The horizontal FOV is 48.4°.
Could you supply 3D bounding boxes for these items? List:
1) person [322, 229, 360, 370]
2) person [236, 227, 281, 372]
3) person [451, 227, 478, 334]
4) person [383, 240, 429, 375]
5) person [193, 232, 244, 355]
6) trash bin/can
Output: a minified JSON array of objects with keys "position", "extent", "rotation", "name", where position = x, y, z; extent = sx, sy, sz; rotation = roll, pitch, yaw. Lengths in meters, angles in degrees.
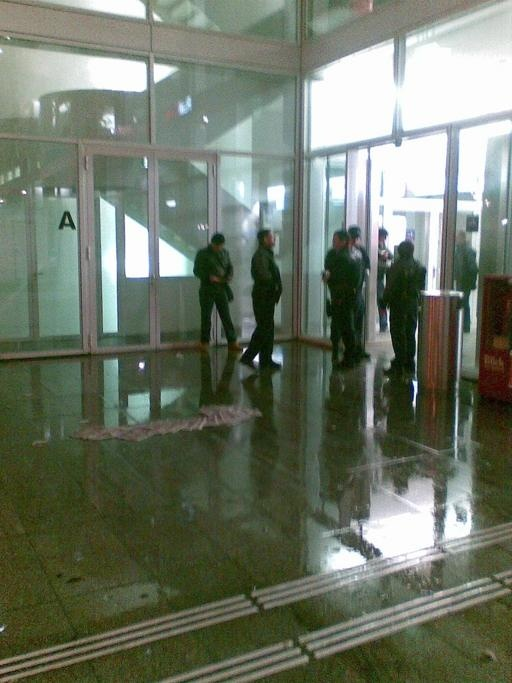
[{"position":[1.066,-0.535,7.129],"extent":[0.416,1.705,0.424],"rotation":[1,5,8],"name":"person"},{"position":[0.065,-0.545,7.174],"extent":[0.451,1.735,0.477],"rotation":[0,5,-4],"name":"person"},{"position":[2.279,-0.659,6.171],"extent":[0.203,1.085,0.450],"rotation":[1,5,13],"name":"person"},{"position":[1.768,-0.409,6.804],"extent":[0.482,1.564,0.381],"rotation":[2,5,22],"name":"person"},{"position":[-0.576,-0.713,8.106],"extent":[0.477,1.752,0.487],"rotation":[-4,20,-13],"name":"person"},{"position":[1.918,-0.019,5.951],"extent":[0.437,1.003,0.242],"rotation":[2,5,23],"name":"trash bin/can"}]
